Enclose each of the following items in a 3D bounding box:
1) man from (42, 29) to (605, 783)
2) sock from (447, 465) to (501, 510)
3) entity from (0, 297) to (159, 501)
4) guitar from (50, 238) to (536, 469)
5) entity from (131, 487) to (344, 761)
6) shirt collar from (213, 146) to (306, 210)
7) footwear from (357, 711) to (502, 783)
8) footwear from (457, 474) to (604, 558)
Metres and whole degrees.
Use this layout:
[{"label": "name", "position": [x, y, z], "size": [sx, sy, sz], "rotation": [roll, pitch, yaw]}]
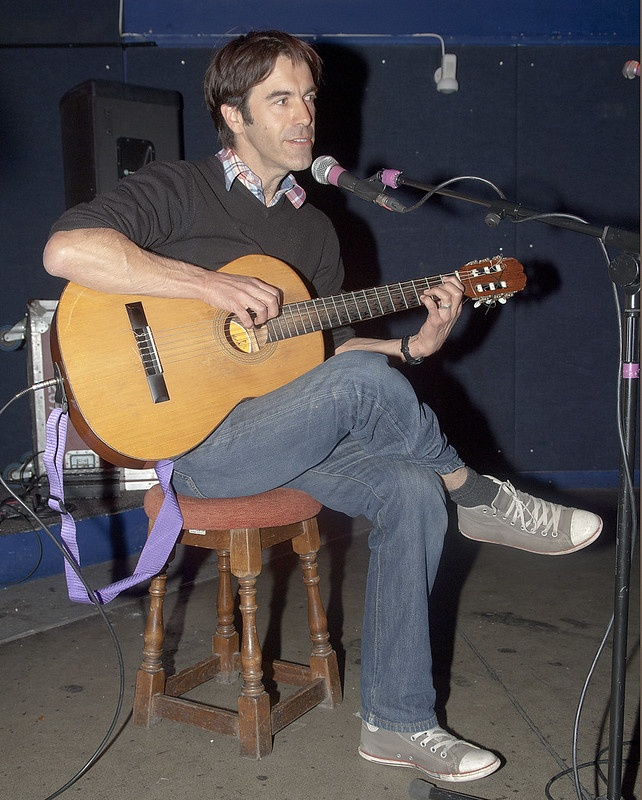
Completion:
[{"label": "man", "position": [0.071, -0.016, 1.831], "size": [1.443, 1.703, 0.841], "rotation": [1, -1, -2]}, {"label": "sock", "position": [0.346, 0.207, 1.693], "size": [0.067, 0.054, 0.168], "rotation": [-3, 3, 43]}, {"label": "entity", "position": [-1.077, 0.005, 3.166], "size": [0.785, 0.854, 0.269], "rotation": [2, -2, -32]}, {"label": "guitar", "position": [-0.011, -0.185, 1.791], "size": [1.199, 0.443, 0.162], "rotation": [-15, 27, -19]}, {"label": "entity", "position": [-0.192, 0.513, 1.802], "size": [0.596, 0.517, 0.518], "rotation": [-3, -4, -4]}, {"label": "shirt collar", "position": [-0.165, -0.548, 1.956], "size": [0.227, 0.061, 0.154], "rotation": [26, 27, -23]}, {"label": "footwear", "position": [0.212, 0.701, 1.525], "size": [0.325, 0.108, 0.104], "rotation": [-4, 4, 29]}, {"label": "footwear", "position": [0.486, 0.283, 1.708], "size": [0.456, 0.136, 0.167], "rotation": [5, -14, 17]}]
